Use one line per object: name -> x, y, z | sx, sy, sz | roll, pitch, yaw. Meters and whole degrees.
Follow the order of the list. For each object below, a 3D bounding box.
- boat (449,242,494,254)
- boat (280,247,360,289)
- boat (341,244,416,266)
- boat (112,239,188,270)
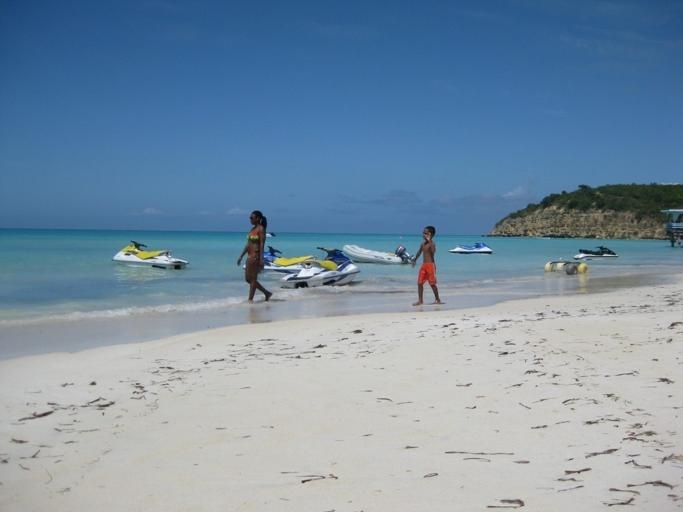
boat -> 14.186, -0.680, 68.160 | 5.114, 1.053, 1.805 | -1, 2, 9
boat -> -0.704, 0.563, 22.471 | 2.857, 0.959, 1.356 | -2, -2, -43
boat -> 2.352, 0.059, 44.344 | 4.368, 1.027, 1.893 | 2, 3, 27
boat -> -10.448, 0.010, 33.711 | 2.066, 1.100, 3.744 | -1, -1, -35
